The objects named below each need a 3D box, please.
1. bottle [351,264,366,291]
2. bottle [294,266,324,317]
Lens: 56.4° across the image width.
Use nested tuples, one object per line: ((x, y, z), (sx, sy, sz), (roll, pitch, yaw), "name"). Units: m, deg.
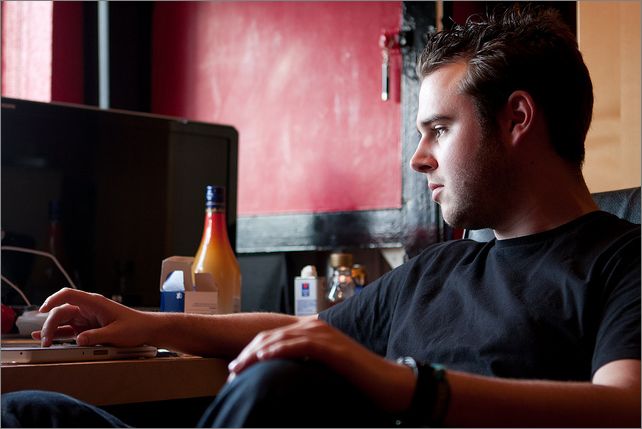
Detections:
((0.156, 0.247, 2.398), (0.070, 0.128, 0.068), (-2, -19, -1), "bottle")
((-0.040, 0.293, 2.171), (0.118, 0.196, 0.120), (-1, -5, 0), "bottle")
